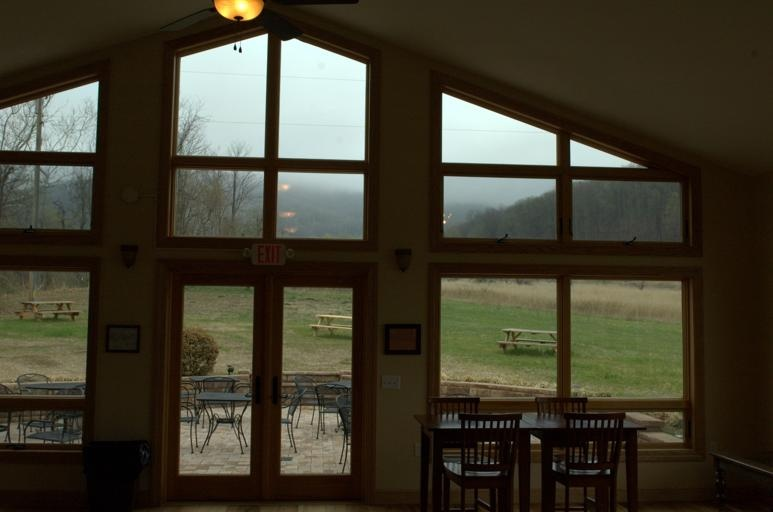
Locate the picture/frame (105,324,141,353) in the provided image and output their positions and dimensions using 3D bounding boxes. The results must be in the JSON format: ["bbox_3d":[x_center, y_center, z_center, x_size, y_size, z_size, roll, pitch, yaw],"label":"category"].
[{"bbox_3d":[-3.578,1.110,11.208,0.381,0.342,0.037,2,-3,-4],"label":"picture/frame"}]

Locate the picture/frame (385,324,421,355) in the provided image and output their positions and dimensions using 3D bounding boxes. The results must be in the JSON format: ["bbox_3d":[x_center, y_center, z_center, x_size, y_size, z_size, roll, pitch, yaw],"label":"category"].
[{"bbox_3d":[0.209,1.134,11.355,0.421,0.349,0.044,1,-3,-6],"label":"picture/frame"}]
